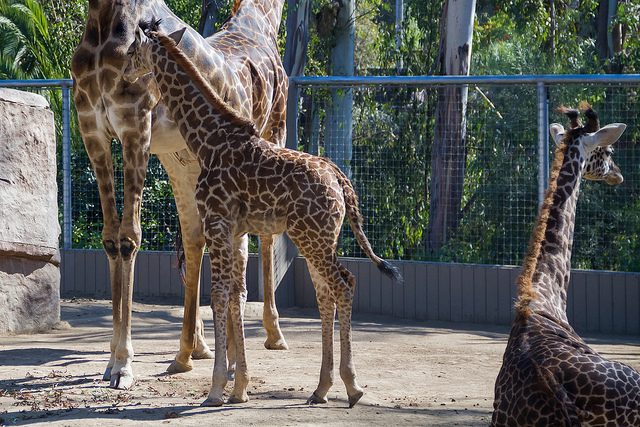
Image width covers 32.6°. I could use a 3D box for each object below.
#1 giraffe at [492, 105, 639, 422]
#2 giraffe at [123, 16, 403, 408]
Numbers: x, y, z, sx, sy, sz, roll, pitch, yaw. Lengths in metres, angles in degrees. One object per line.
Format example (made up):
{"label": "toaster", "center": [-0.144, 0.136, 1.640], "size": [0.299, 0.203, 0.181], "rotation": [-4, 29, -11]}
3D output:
{"label": "giraffe", "center": [2.624, 0.571, 11.830], "size": [1.370, 2.986, 1.946], "rotation": [2, 13, 10]}
{"label": "giraffe", "center": [-0.640, 0.049, 12.598], "size": [2.717, 4.063, 1.213], "rotation": [0, 12, 1]}
